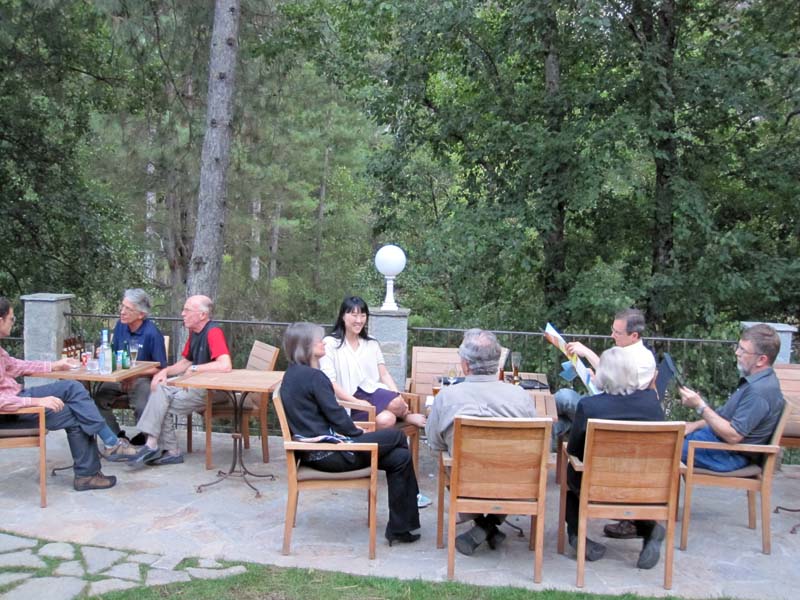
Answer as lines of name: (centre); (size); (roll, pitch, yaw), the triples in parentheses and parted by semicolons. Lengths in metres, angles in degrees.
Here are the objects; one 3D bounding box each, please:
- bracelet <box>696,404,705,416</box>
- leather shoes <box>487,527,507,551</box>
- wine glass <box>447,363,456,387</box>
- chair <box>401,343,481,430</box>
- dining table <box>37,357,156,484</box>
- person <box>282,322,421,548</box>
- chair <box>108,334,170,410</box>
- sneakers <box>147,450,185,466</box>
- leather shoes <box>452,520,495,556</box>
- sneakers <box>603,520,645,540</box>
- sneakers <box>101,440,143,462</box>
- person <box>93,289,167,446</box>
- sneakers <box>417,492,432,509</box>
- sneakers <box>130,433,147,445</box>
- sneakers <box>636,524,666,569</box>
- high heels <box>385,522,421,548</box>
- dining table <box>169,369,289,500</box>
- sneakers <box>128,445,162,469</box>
bracelet: (2.731, 0.985, 8.081); (0.073, 0.061, 0.077); (-4, 8, -15)
leather shoes: (0.879, 2.165, 8.093); (0.139, 0.054, 0.215); (0, 14, 3)
wine glass: (0.526, 0.707, 8.703); (0.109, 0.264, 0.155); (-1, -2, 6)
chair: (0.410, 0.911, 9.544); (0.801, 0.836, 0.627); (0, 1, 1)
dining table: (-3.167, 1.264, 9.445); (1.084, 1.178, 1.150); (-1, -4, 5)
person: (-0.402, 1.191, 8.199); (1.181, 2.092, 0.705); (-4, 5, -13)
chair: (-2.825, 0.757, 9.611); (0.569, 1.082, 0.553); (11, 8, 29)
sneakers: (-2.534, 1.693, 9.619); (0.365, 0.159, 0.137); (6, -9, -24)
leather shoes: (0.665, 2.131, 8.009); (0.153, 0.200, 0.463); (-2, 1, 45)
sneakers: (2.074, 2.126, 8.302); (0.298, 0.130, 0.174); (0, -4, 2)
sneakers: (-3.048, 1.641, 9.689); (0.468, 0.241, 0.210); (0, -1, -10)
person: (-2.998, 0.728, 9.860); (0.811, 1.678, 0.859); (-9, 16, -44)
sneakers: (0.244, 1.985, 8.867); (0.178, 0.083, 0.226); (1, 2, -23)
sneakers: (-2.923, 1.550, 9.955); (0.146, 0.153, 0.148); (3, 3, 43)
sneakers: (2.215, 2.135, 7.899); (0.166, 0.487, 0.183); (20, -13, -6)
high heels: (0.074, 2.100, 8.137); (0.408, 0.231, 0.136); (-7, 6, -28)
dining table: (-1.813, 1.372, 9.263); (1.160, 1.251, 1.207); (0, -2, 2)
sneakers: (-2.721, 1.663, 9.496); (0.143, 0.177, 0.420); (2, 4, 16)
